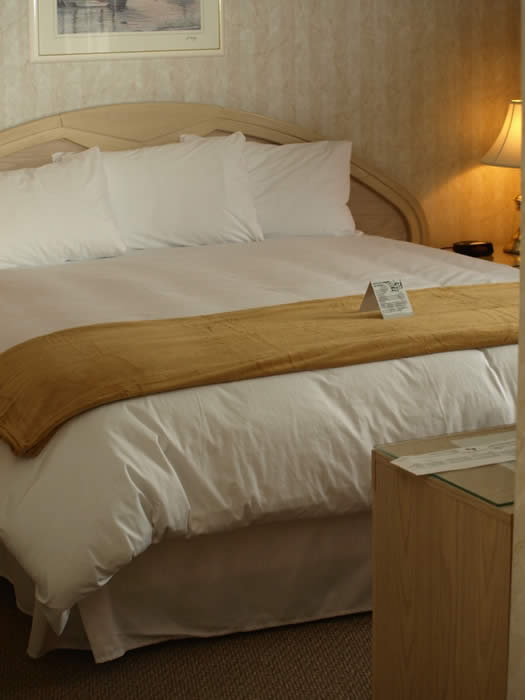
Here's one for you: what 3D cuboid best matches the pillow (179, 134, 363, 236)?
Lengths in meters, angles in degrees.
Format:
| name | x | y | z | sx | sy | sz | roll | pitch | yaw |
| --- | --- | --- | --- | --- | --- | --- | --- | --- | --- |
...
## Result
| name | x | y | z | sx | sy | sz | roll | pitch | yaw |
| --- | --- | --- | --- | --- | --- | --- | --- | --- | --- |
| pillow | 0.109 | -0.799 | 2.900 | 0.596 | 0.634 | 0.145 | -2 | -13 | -9 |
